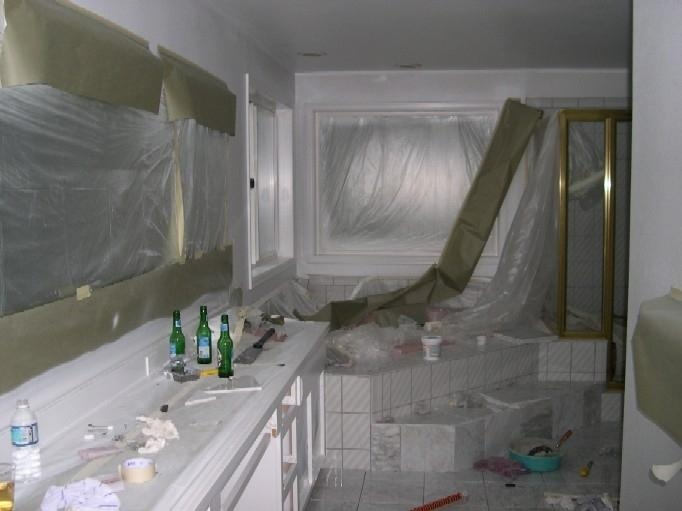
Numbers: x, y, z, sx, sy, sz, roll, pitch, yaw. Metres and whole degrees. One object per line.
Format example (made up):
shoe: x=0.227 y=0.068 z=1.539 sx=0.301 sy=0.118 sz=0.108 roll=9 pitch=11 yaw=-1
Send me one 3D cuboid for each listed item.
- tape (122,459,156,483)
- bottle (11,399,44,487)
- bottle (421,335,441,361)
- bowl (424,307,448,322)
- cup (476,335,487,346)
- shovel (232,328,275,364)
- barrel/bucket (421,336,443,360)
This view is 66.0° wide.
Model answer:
tape: x=-0.581 y=0.621 z=1.523 sx=0.083 sy=0.050 sz=0.078 roll=-1 pitch=12 yaw=-45
bottle: x=-0.904 y=0.537 z=1.521 sx=0.074 sy=0.211 sz=0.108 roll=1 pitch=10 yaw=-33
bottle: x=0.655 y=0.671 z=3.865 sx=0.147 sy=0.158 sz=0.149 roll=-1 pitch=5 yaw=-23
bowl: x=0.892 y=0.551 z=4.974 sx=0.198 sy=0.100 sz=0.159 roll=3 pitch=10 yaw=-29
cup: x=1.101 y=0.668 z=4.125 sx=0.068 sy=0.080 sz=0.070 roll=-1 pitch=-2 yaw=0
shovel: x=-0.419 y=0.463 z=2.690 sx=0.082 sy=0.019 sz=0.460 roll=19 pitch=15 yaw=7
barrel/bucket: x=0.658 y=0.662 z=3.809 sx=0.144 sy=0.157 sz=0.148 roll=0 pitch=5 yaw=0
